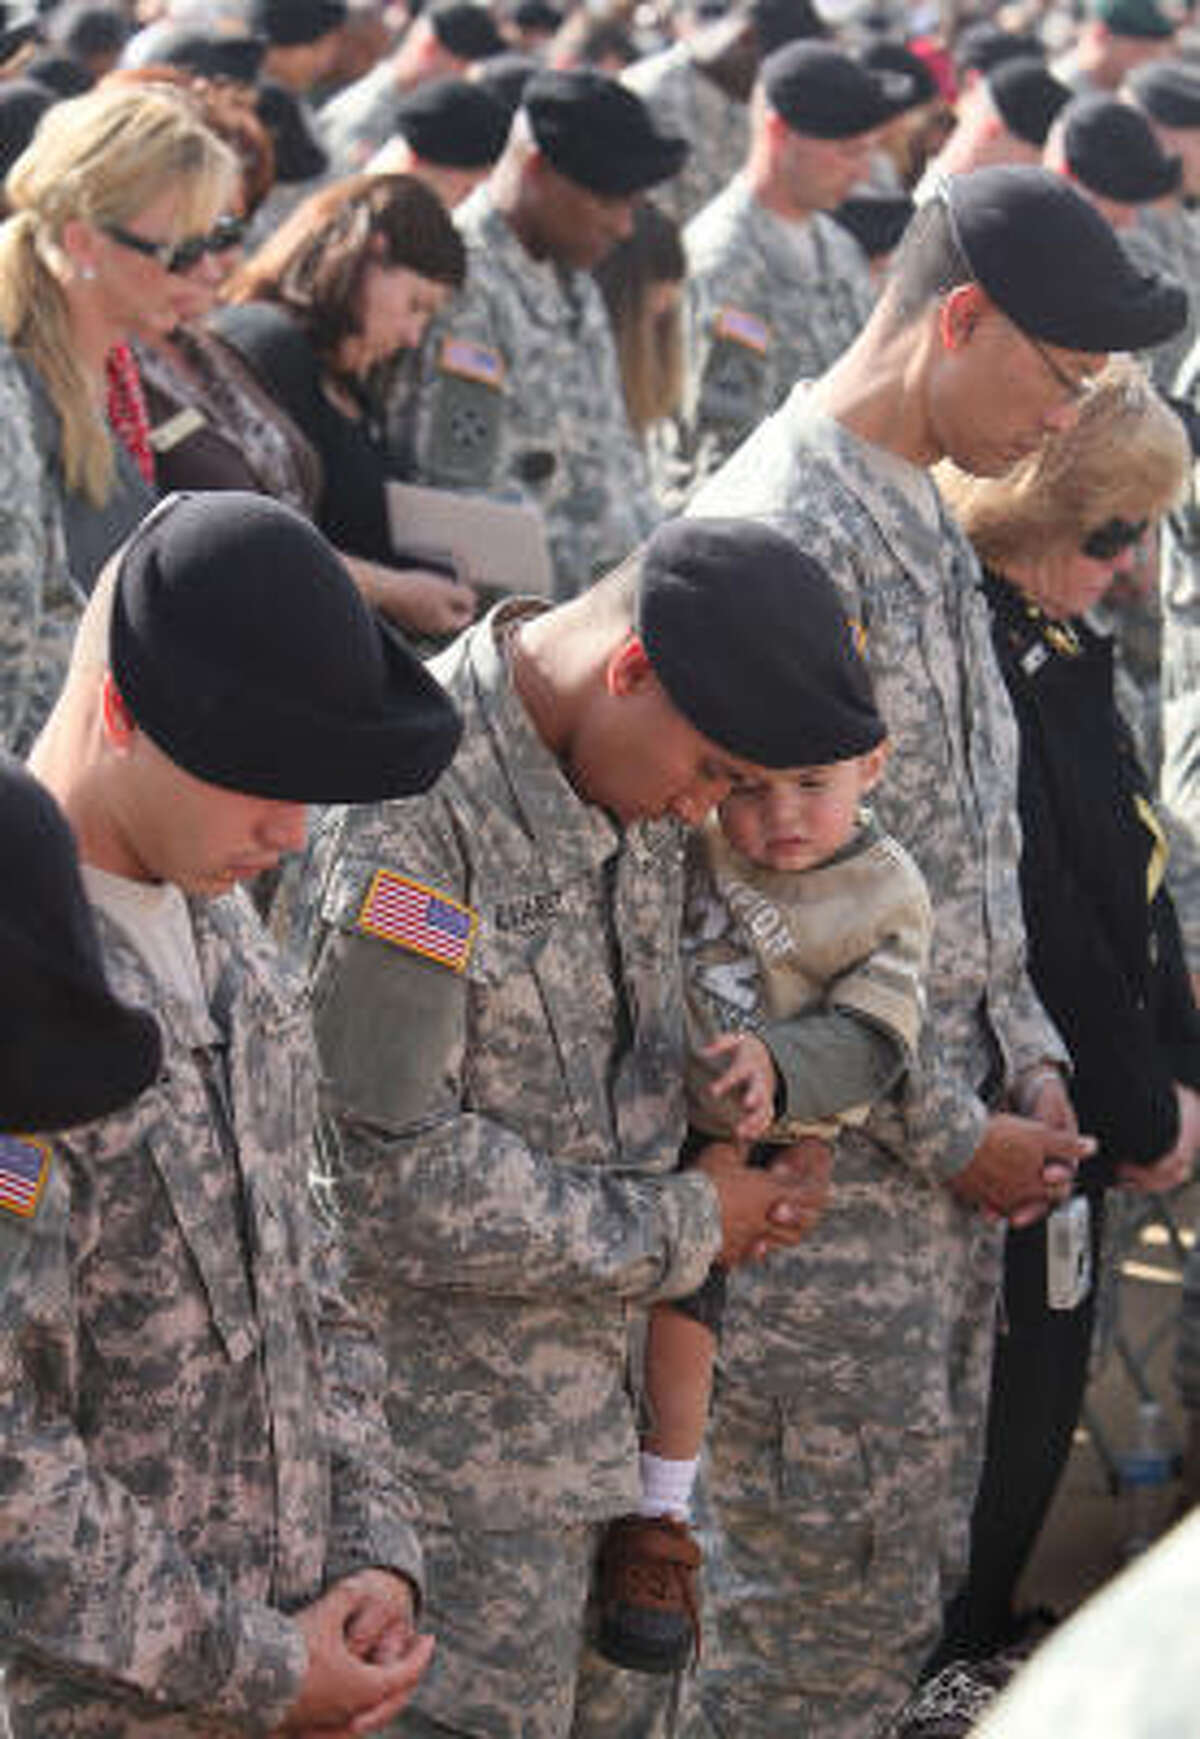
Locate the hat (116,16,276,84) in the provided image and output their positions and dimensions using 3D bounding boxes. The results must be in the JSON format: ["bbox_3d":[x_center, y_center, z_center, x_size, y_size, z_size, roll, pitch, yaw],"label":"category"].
[{"bbox_3d":[-0.847,-1.729,4.216,0.284,0.121,0.343,-3,19,-33],"label":"hat"}]

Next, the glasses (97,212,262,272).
[{"bbox_3d":[-0.735,-1.065,3.417,0.172,0.043,0.154,10,16,14],"label":"glasses"}]

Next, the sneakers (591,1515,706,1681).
[{"bbox_3d":[0.041,0.870,2.415,0.107,0.103,0.220,5,28,-10],"label":"sneakers"}]

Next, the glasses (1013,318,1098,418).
[{"bbox_3d":[0.666,-0.734,2.934,0.125,0.039,0.103,44,17,8],"label":"glasses"}]

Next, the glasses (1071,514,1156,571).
[{"bbox_3d":[0.904,-0.571,3.469,0.030,0.083,0.092,19,11,-7],"label":"glasses"}]

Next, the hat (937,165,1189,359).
[{"bbox_3d":[0.657,-0.849,2.990,0.379,0.134,0.249,26,56,-8],"label":"hat"}]
